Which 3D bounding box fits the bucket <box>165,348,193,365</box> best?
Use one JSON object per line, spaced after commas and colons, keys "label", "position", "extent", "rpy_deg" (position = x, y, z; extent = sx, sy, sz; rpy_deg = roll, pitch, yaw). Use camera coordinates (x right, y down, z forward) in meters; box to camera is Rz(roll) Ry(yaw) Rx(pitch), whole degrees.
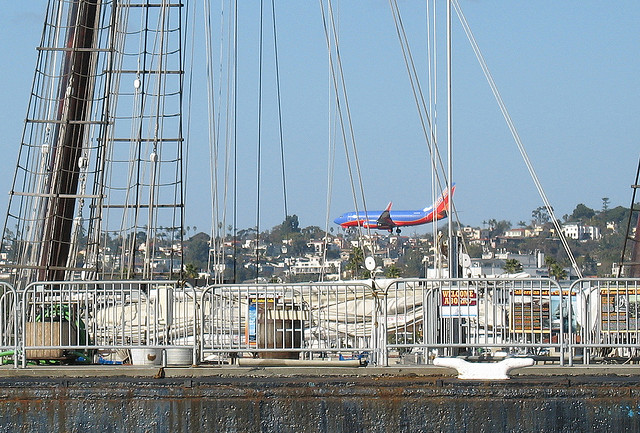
{"label": "bucket", "position": [-2.822, 2.762, 25.491], "extent": [0.464, 0.382, 0.885], "rpy_deg": [-1, -13, -8]}

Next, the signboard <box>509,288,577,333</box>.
{"label": "signboard", "position": [4.404, 1.872, 25.807], "extent": [1.112, 0.714, 0.052], "rpy_deg": [0, 2, -9]}

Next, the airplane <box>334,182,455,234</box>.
{"label": "airplane", "position": [6.177, -0.531, 109.643], "extent": [10.290, 3.989, 11.809], "rpy_deg": [0, 17, 0]}

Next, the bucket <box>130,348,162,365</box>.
{"label": "bucket", "position": [-3.495, 2.771, 25.615], "extent": [0.591, 0.436, 1.104], "rpy_deg": [-1, -13, -9]}

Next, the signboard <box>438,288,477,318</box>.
{"label": "signboard", "position": [2.613, 1.638, 24.617], "extent": [0.807, 0.601, 0.595], "rpy_deg": [0, -13, -13]}
